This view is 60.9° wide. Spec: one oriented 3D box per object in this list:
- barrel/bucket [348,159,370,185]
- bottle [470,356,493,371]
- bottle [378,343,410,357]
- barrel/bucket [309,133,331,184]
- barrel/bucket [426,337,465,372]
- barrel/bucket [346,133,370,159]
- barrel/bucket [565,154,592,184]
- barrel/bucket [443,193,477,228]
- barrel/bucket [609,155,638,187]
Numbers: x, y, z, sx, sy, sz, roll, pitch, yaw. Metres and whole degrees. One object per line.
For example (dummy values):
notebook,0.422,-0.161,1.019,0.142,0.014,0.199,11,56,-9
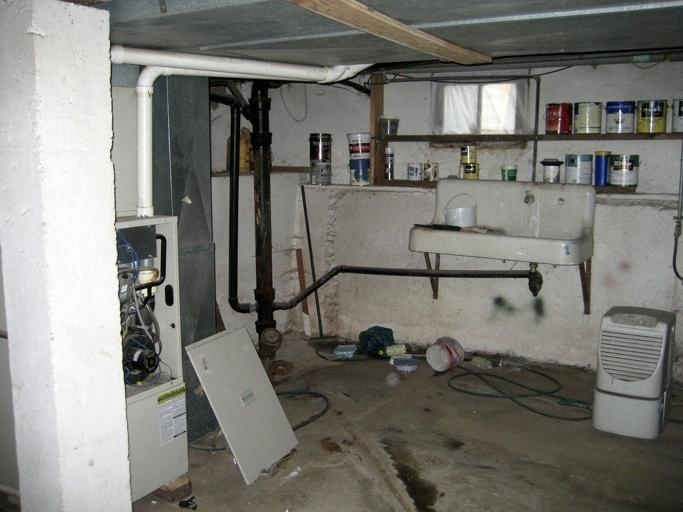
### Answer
barrel/bucket,0.122,-0.701,4.818,0.107,0.220,0.224,-7,12,-32
bottle,1.058,0.818,4.445,0.108,0.055,0.184,-6,11,-27
bottle,0.414,0.752,4.637,0.206,0.093,0.070,-6,5,0
barrel/bucket,-0.183,-0.836,5.039,0.179,0.440,0.225,-2,10,-5
barrel/bucket,0.777,0.751,4.469,0.251,0.227,0.182,7,5,28
barrel/bucket,0.143,-0.908,4.784,0.211,0.149,0.195,-1,7,0
barrel/bucket,1.607,-0.589,3.991,0.222,0.224,0.214,0,5,0
barrel/bucket,0.845,-0.334,4.137,0.233,0.231,0.322,1,10,9
barrel/bucket,1.866,-0.563,3.886,0.219,0.216,0.209,0,4,0
